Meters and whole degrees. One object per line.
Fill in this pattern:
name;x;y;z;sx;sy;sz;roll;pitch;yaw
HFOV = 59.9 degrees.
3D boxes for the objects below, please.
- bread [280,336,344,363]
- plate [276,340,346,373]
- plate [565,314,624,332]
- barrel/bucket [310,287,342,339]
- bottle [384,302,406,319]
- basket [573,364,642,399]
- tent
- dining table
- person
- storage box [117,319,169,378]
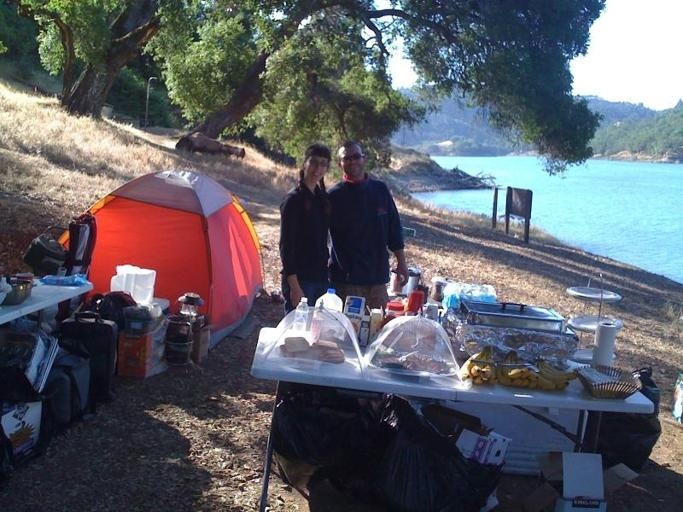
bread;-0.247;0.797;5.026;0.403;0.137;0.254;8;-3;-5
plate;-0.273;0.783;5.134;0.434;0.247;0.555;-2;12;-13
plate;3.141;0.842;7.456;0.653;0.144;0.683;-2;2;-19
barrel/bucket;-0.148;0.534;5.403;0.267;0.521;0.279;4;13;-1
bottle;0.491;0.508;5.530;0.132;0.152;0.149;6;-6;-5
basket;2.228;0.989;5.041;0.442;0.250;0.449;2;15;7
tent;-2.455;-0.272;8.471;2.255;1.699;2.416;9;18;8
dining table;0.714;1.701;5.130;2.299;1.604;2.686;5;10;1
person;0.259;-0.318;6.223;0.856;1.705;0.464;2;6;-9
storage box;-2.300;1.063;7.015;0.466;0.561;0.631;2;14;-6
